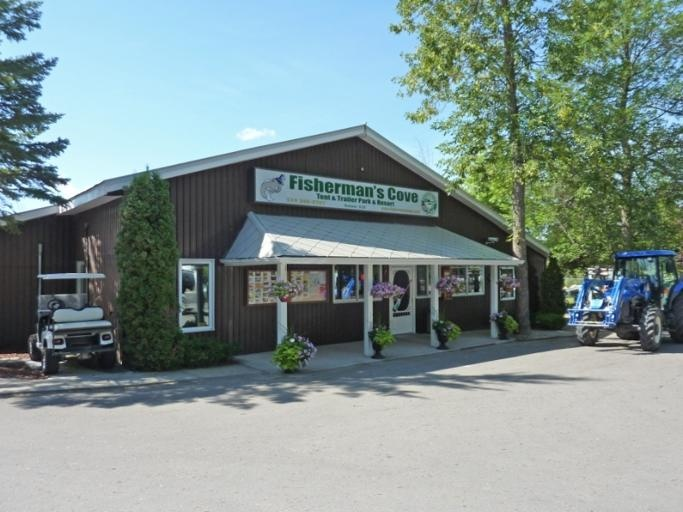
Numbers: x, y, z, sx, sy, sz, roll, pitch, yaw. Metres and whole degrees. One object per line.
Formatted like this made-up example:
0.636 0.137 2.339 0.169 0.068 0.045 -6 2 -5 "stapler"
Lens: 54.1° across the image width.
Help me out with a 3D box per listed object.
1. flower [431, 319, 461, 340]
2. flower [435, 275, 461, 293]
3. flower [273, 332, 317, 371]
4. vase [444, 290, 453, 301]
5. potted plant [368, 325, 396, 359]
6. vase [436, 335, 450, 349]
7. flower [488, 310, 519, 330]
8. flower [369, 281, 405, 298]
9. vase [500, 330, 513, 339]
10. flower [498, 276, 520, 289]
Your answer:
3.511 2.436 22.313 0.687 0.534 0.720 4 0 34 "flower"
3.615 0.984 22.885 0.614 0.479 0.636 -5 -7 43 "flower"
-1.310 2.750 19.114 0.999 1.164 1.080 3 14 9 "flower"
3.831 1.451 23.821 0.334 0.415 0.414 -1 3 5 "vase"
1.190 2.654 20.790 0.702 0.990 0.703 -3 8 -23 "potted plant"
3.399 2.884 22.310 0.392 0.490 0.410 -5 -7 33 "vase"
5.924 2.174 24.622 0.762 0.660 0.884 21 -1 -32 "flower"
1.228 1.087 20.930 0.749 0.377 0.751 2 -3 -30 "flower"
6.080 2.960 24.785 0.385 0.312 0.400 -1 3 -10 "vase"
6.273 1.023 25.062 0.461 0.350 0.594 4 0 -20 "flower"
